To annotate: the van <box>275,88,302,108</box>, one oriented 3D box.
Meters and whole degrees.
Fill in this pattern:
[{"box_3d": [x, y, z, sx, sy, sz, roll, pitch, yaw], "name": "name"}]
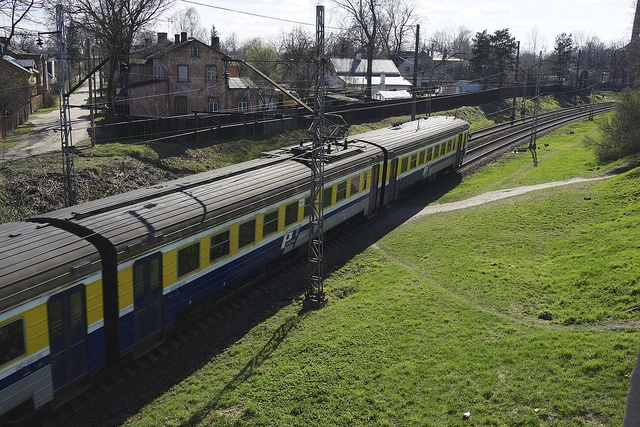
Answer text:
[{"box_3d": [-4.270, -13.997, 60.071, 2.441, 2.188, 10.928, -2, 16, -5], "name": "van"}]
